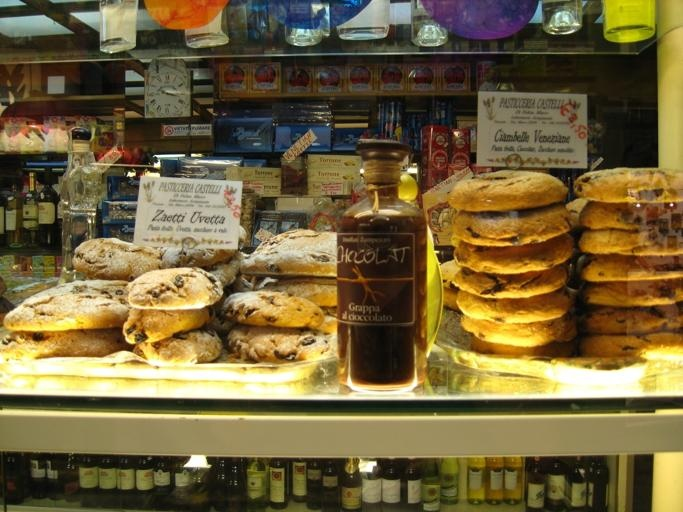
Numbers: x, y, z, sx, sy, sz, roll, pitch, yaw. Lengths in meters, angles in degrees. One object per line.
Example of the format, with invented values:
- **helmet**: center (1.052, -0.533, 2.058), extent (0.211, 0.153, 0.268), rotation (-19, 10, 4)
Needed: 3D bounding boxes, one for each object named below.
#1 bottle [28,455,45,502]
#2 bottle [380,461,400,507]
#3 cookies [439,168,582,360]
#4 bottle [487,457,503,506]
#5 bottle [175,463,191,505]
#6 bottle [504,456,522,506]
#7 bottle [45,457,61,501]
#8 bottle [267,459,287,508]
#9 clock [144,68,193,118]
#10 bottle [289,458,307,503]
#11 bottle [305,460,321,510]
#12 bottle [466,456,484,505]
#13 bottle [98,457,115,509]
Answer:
- **bottle**: center (-0.954, 0.697, 2.118), extent (0.044, 0.129, 0.108), rotation (-7, 8, -16)
- **bottle**: center (0.160, 0.745, 2.180), extent (0.066, 0.154, 0.054), rotation (-4, 8, 2)
- **cookies**: center (0.342, 0.018, 1.345), extent (0.240, 0.375, 0.130), rotation (-3, 8, 5)
- **bottle**: center (0.516, 0.769, 2.279), extent (0.086, 0.174, 0.024), rotation (-9, 9, -31)
- **bottle**: center (-0.495, 0.716, 2.091), extent (0.053, 0.122, 0.038), rotation (-5, 8, -5)
- **bottle**: center (0.585, 0.772, 2.297), extent (0.068, 0.182, 0.042), rotation (-3, 8, 10)
- **bottle**: center (-0.923, 0.711, 2.160), extent (0.049, 0.122, 0.087), rotation (-8, 8, -23)
- **bottle**: center (-0.209, 0.735, 2.166), extent (0.069, 0.155, 0.037), rotation (0, 10, 31)
- **clock**: center (-0.482, -0.457, 1.865), extent (0.172, 0.186, 0.022), rotation (5, 46, -8)
- **bottle**: center (-0.136, 0.721, 2.156), extent (0.060, 0.143, 0.027), rotation (-4, 8, -1)
- **bottle**: center (-0.089, 0.736, 2.150), extent (0.058, 0.179, 0.044), rotation (-5, 8, -3)
- **bottle**: center (0.454, 0.762, 2.268), extent (0.062, 0.149, 0.087), rotation (-2, 8, 14)
- **bottle**: center (-0.766, 0.739, 2.207), extent (0.064, 0.142, 0.118), rotation (-7, 8, -20)
